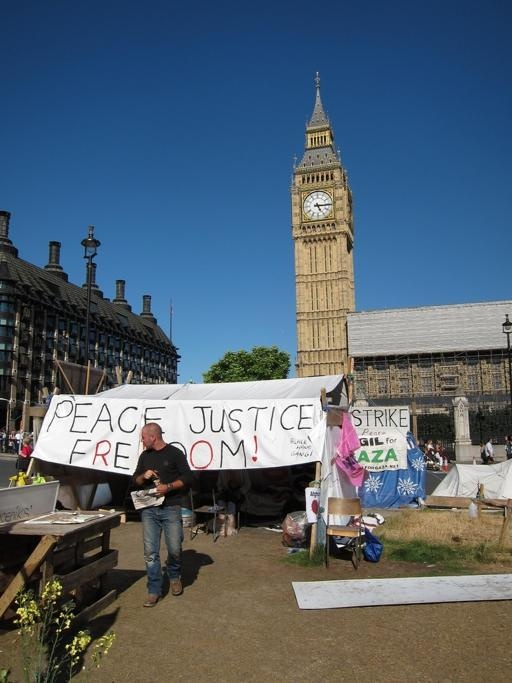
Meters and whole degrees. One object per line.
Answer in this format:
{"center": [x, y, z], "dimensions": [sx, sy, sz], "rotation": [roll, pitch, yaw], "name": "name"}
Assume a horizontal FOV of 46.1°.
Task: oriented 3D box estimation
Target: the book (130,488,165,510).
{"center": [-1.243, 1.758, 6.812], "dimensions": [0.327, 0.230, 0.106], "rotation": [-1, -3, -7], "name": "book"}

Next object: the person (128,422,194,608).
{"center": [-1.088, 1.913, 6.853], "dimensions": [0.673, 1.947, 0.521], "rotation": [6, -10, -34], "name": "person"}

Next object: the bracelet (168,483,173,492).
{"center": [-0.959, 1.641, 6.766], "dimensions": [0.048, 0.062, 0.070], "rotation": [1, -36, -7], "name": "bracelet"}

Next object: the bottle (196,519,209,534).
{"center": [-1.048, 3.584, 11.582], "dimensions": [0.179, 0.157, 0.221], "rotation": [1, -11, -2], "name": "bottle"}

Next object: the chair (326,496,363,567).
{"center": [1.360, 2.832, 9.294], "dimensions": [0.554, 0.976, 1.897], "rotation": [-1, -8, 9], "name": "chair"}
